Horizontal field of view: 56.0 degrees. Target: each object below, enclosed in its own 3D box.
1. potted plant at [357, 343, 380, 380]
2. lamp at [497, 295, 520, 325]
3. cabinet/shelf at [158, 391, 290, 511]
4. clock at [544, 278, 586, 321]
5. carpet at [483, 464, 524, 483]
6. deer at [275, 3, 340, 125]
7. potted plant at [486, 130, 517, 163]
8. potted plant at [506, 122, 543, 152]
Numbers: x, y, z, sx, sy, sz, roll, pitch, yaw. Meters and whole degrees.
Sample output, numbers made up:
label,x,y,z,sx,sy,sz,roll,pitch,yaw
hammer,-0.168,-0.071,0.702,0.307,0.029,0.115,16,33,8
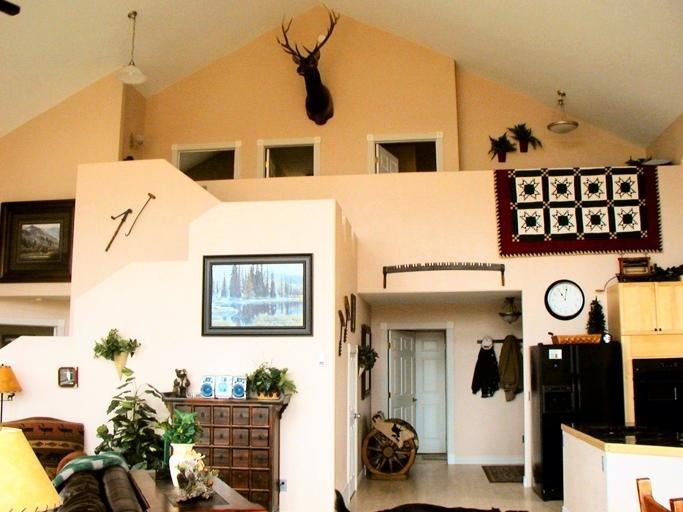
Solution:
label,x,y,z,sx,sy,sz,roll,pitch,yaw
potted plant,0.377,1.492,9.424,0.356,0.538,0.511,2,1,9
lamp,2.704,0.869,10.277,0.432,0.512,0.459,-1,-3,12
cabinet/shelf,-1.211,2.021,6.674,1.389,1.652,0.598,-1,-5,-1
clock,3.118,0.617,9.098,0.504,0.556,0.111,-8,2,0
carpet,2.442,3.283,9.716,0.590,0.095,1.111,0,-8,12
deer,-0.526,-3.263,10.476,0.941,2.020,1.243,2,-8,-1
potted plant,2.613,-1.797,10.592,0.427,0.475,0.451,0,4,0
potted plant,3.004,-1.946,10.587,0.445,0.424,0.469,-1,8,7
